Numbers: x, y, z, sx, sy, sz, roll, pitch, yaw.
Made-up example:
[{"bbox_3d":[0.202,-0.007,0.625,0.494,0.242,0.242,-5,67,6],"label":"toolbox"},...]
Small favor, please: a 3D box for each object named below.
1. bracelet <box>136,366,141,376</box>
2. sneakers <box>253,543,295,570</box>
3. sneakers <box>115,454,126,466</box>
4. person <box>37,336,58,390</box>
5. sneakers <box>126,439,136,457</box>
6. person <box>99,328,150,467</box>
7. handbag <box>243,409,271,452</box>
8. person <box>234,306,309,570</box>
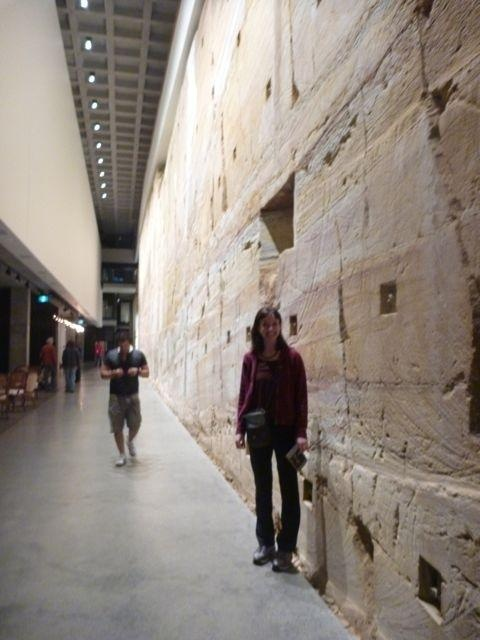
[{"bbox_3d":[-1.244,0.637,5.124,0.048,0.070,0.060,-1,-1,-11],"label":"bracelet"},{"bbox_3d":[0.204,1.414,2.468,0.266,0.174,0.121,10,-11,-18],"label":"sneakers"},{"bbox_3d":[-1.444,1.693,5.035,0.126,0.119,0.195,3,-8,-18],"label":"sneakers"},{"bbox_3d":[-6.309,1.430,13.724,0.485,1.711,2.219,3,-8,-26],"label":"person"},{"bbox_3d":[-1.426,1.688,5.455,0.072,0.380,0.120,-5,0,-3],"label":"sneakers"},{"bbox_3d":[-1.441,0.968,5.202,0.531,1.605,0.741,2,-6,-17],"label":"person"},{"bbox_3d":[0.099,0.607,2.447,0.127,0.263,0.122,-3,27,6],"label":"handbag"},{"bbox_3d":[0.196,0.695,2.458,0.295,1.530,0.544,5,-8,-44],"label":"person"}]
